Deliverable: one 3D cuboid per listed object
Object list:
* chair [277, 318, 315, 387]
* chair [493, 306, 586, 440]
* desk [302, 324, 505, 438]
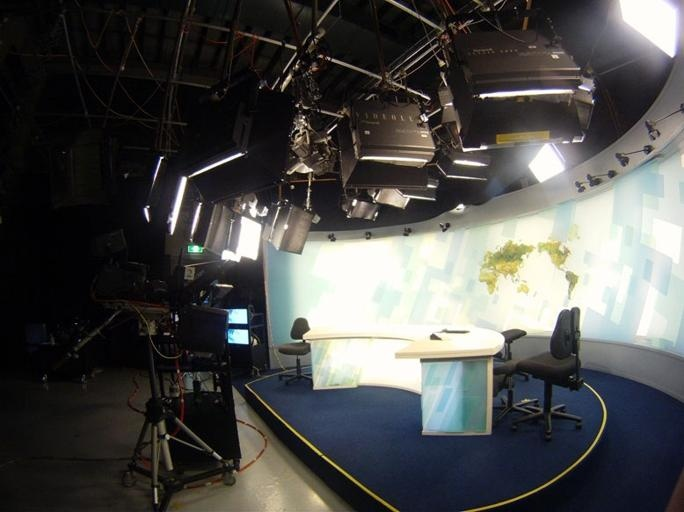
[{"bbox_3d":[-0.699,1.503,8.102,0.543,1.008,0.551,-3,-4,28],"label":"chair"},{"bbox_3d":[2.274,1.296,5.728,0.917,1.412,0.847,5,16,27],"label":"chair"},{"bbox_3d":[0.863,1.431,6.552,1.279,1.244,2.573,-13,18,-37],"label":"desk"}]
